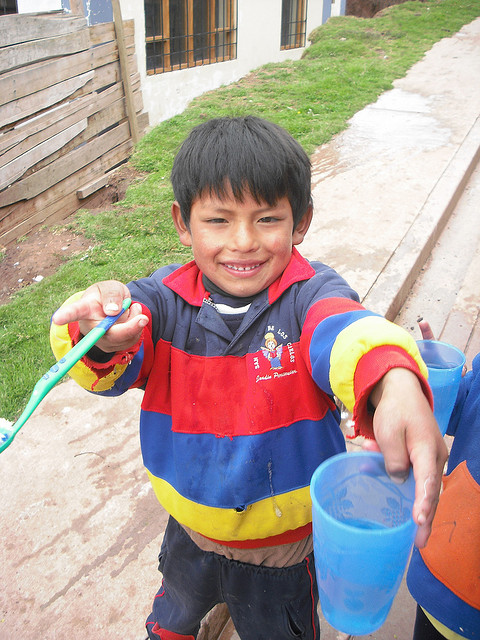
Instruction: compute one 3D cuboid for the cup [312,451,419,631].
[{"bbox_3d":[0.150,0.286,0.607,0.117,0.300,0.149,3,28,9],"label":"cup"}]
